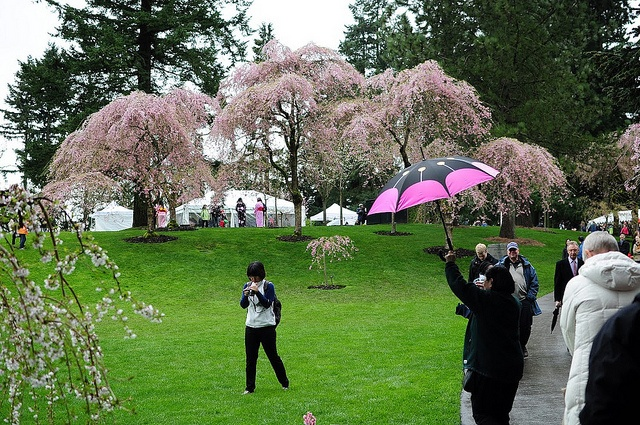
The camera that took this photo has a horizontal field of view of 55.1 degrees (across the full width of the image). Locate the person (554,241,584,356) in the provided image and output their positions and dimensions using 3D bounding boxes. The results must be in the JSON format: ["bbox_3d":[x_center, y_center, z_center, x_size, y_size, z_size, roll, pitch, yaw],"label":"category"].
[{"bbox_3d":[6.202,2.106,15.197,0.813,2.747,0.719,-3,11,3],"label":"person"}]

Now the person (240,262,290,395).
[{"bbox_3d":[-1.187,2.415,12.945,0.891,2.813,0.601,0,5,-8],"label":"person"}]

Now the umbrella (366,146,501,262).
[{"bbox_3d":[2.194,-0.489,11.803,1.885,1.575,1.913,-28,13,6],"label":"umbrella"}]
